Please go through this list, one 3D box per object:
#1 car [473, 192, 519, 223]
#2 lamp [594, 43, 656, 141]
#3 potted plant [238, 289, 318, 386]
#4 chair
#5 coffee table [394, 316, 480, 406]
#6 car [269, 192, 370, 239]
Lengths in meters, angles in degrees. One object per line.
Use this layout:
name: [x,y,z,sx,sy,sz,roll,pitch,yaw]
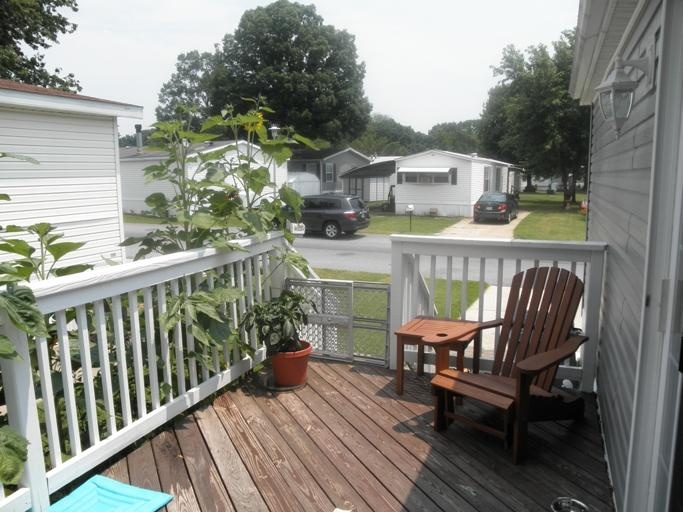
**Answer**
car: [6.525,-2.001,21.035,1.348,1.265,2.026,6,13,32]
lamp: [1.907,-1.093,3.326,0.253,0.569,0.211,3,5,16]
potted plant: [-0.471,0.696,4.446,0.694,0.995,0.725,-1,0,-10]
chair: [1.262,0.750,3.702,0.898,1.184,1.226,4,10,39]
coffee table: [0.819,0.780,4.187,0.603,0.662,0.643,2,13,23]
car: [-0.310,-1.471,17.572,2.365,1.153,1.333,6,10,13]
